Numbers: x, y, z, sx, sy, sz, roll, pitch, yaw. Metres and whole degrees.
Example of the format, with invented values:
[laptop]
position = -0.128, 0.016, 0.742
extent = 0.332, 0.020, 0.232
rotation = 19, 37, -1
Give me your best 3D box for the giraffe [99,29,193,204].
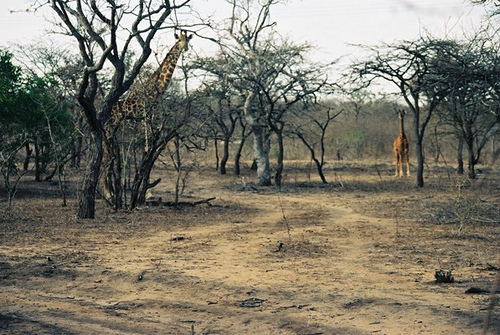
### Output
[giraffe]
position = -4.143, -1.752, 28.802
extent = 3.331, 7.049, 6.277
rotation = -2, 12, -11
